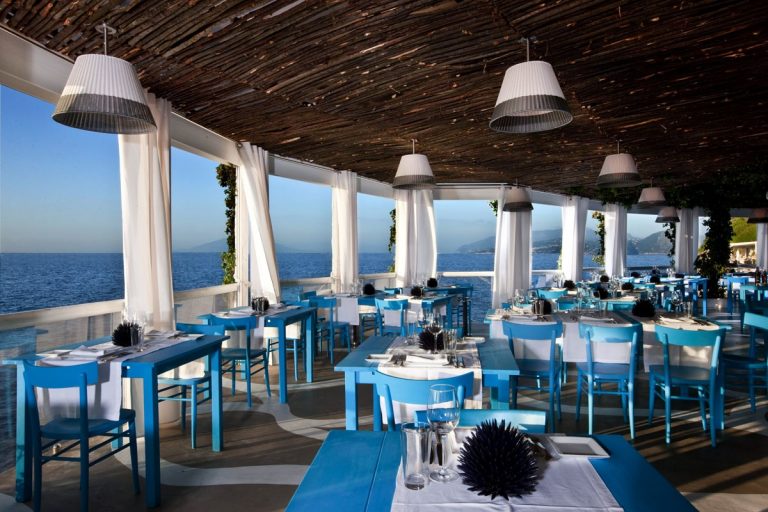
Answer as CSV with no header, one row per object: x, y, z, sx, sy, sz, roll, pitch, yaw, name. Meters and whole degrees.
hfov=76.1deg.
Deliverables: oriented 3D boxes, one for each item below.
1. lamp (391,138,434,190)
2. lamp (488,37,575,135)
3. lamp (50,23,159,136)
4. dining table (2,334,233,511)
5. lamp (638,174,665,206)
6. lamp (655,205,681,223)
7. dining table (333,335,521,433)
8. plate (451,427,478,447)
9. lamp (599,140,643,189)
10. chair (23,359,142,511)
0.407,-1.185,6.114,0.609,0.549,0.565,-6,13,-19,lamp
1.109,-1.197,3.839,0.706,0.743,0.673,-1,2,27,lamp
-2.154,-1.478,3.775,0.654,0.958,0.637,-5,-3,43,lamp
-2.251,1.226,4.380,1.442,1.097,1.685,-1,-2,18,dining table
4.473,-1.013,8.192,0.364,0.359,0.562,-4,-3,27,lamp
6.424,-0.911,10.929,0.584,0.314,0.529,-2,2,10,lamp
0.231,0.866,3.951,1.029,0.530,1.212,0,1,5,dining table
0.442,1.006,2.769,0.157,0.043,0.115,-13,12,-25,plate
2.864,-1.102,5.921,0.542,0.470,0.492,-2,-2,3,lamp
-2.440,1.372,3.869,0.845,1.157,0.700,-3,-2,8,chair
